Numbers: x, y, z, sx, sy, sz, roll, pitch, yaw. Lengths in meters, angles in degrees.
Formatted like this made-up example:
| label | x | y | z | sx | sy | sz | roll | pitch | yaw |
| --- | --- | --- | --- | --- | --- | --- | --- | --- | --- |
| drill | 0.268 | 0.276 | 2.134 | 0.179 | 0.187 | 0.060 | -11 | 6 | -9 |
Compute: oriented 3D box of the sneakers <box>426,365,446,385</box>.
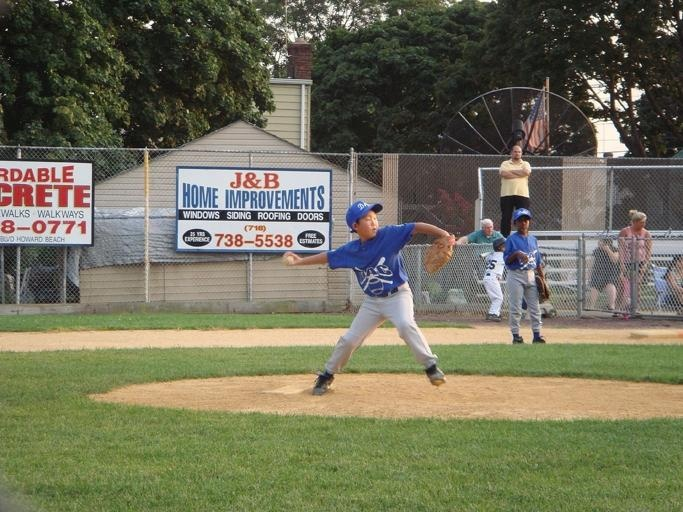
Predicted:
| label | x | y | z | sx | sy | sz | roll | pitch | yaw |
| --- | --- | --- | --- | --- | --- | --- | --- | --- | --- |
| sneakers | 1.825 | 2.416 | 28.237 | 0.221 | 0.259 | 0.568 | -10 | -28 | 5 |

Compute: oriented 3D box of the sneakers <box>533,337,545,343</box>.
| label | x | y | z | sx | sy | sz | roll | pitch | yaw |
| --- | --- | --- | --- | --- | --- | --- | --- | --- | --- |
| sneakers | 4.437 | 1.963 | 32.449 | 0.198 | 0.155 | 0.125 | 1 | 3 | 6 |

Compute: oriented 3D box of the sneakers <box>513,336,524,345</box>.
| label | x | y | z | sx | sy | sz | roll | pitch | yaw |
| --- | --- | --- | --- | --- | --- | --- | --- | --- | --- |
| sneakers | 3.958 | 1.977 | 32.552 | 0.217 | 0.227 | 0.139 | -2 | 8 | 45 |

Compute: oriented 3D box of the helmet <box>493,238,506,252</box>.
| label | x | y | z | sx | sy | sz | roll | pitch | yaw |
| --- | --- | --- | --- | --- | --- | --- | --- | --- | --- |
| helmet | 3.874 | -0.234 | 35.501 | 0.277 | 0.290 | 0.264 | -30 | 18 | 12 |

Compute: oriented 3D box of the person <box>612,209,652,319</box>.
| label | x | y | z | sx | sy | sz | roll | pitch | yaw |
| --- | --- | --- | --- | --- | --- | --- | --- | --- | --- |
| person | 7.097 | 0.200 | 34.874 | 0.852 | 2.619 | 0.662 | 0 | 0 | 18 |

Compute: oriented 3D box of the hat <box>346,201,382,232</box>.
| label | x | y | z | sx | sy | sz | roll | pitch | yaw |
| --- | --- | --- | --- | --- | --- | --- | --- | --- | --- |
| hat | 0.328 | -0.882 | 28.417 | 0.734 | 0.405 | 0.518 | -36 | 1 | 16 |

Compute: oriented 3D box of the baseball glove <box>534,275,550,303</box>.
| label | x | y | z | sx | sy | sz | roll | pitch | yaw |
| --- | --- | --- | --- | --- | --- | --- | --- | --- | --- |
| baseball glove | 4.569 | 0.769 | 32.631 | 0.409 | 0.523 | 0.187 | 4 | 26 | 45 |

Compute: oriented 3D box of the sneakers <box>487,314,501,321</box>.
| label | x | y | z | sx | sy | sz | roll | pitch | yaw |
| --- | --- | --- | --- | --- | --- | --- | --- | --- | --- |
| sneakers | 3.765 | 1.594 | 35.916 | 0.315 | 0.153 | 0.130 | 3 | 3 | -3 |

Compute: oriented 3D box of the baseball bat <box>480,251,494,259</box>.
| label | x | y | z | sx | sy | sz | roll | pitch | yaw |
| --- | --- | --- | --- | --- | --- | --- | --- | --- | --- |
| baseball bat | 3.590 | -0.001 | 35.946 | 0.252 | 0.144 | 0.076 | 5 | -8 | 41 |

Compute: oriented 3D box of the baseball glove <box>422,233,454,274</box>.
| label | x | y | z | sx | sy | sz | roll | pitch | yaw |
| --- | --- | --- | --- | --- | --- | --- | --- | --- | --- |
| baseball glove | 1.934 | 0.013 | 28.354 | 0.275 | 0.711 | 0.562 | 21 | 15 | -46 |

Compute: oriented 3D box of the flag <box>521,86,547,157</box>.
| label | x | y | z | sx | sy | sz | roll | pitch | yaw |
| --- | --- | --- | --- | --- | --- | --- | --- | --- | --- |
| flag | 5.374 | -3.683 | 39.641 | 0.594 | 1.602 | 1.346 | 0 | -1 | -10 |
